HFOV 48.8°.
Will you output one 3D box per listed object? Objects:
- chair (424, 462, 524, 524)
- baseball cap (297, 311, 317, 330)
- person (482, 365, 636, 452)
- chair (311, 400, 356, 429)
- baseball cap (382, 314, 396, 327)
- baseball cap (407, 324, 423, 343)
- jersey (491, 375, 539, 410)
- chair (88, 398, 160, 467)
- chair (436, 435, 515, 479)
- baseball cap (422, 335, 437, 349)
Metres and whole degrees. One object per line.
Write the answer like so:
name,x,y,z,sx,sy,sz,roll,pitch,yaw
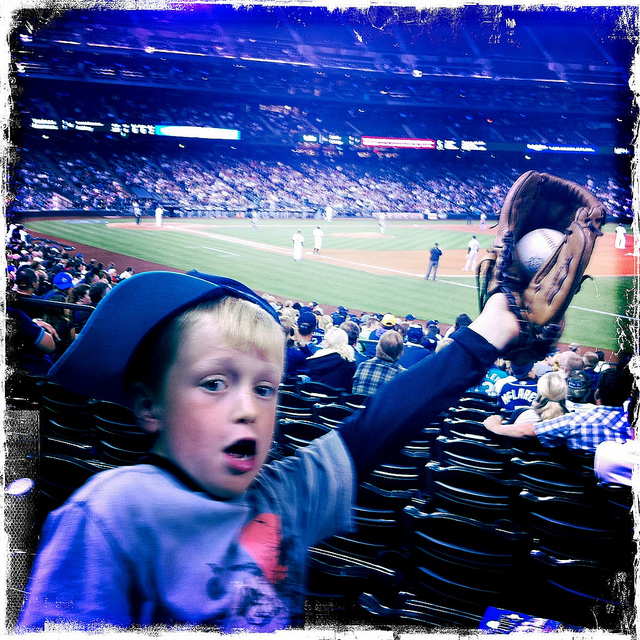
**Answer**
chair,1.167,1.358,5.449,0.791,0.463,0.657,4,-3,10
baseball cap,-0.115,0.005,6.499,0.149,0.148,0.180,6,-7,14
person,2.190,0.783,6.189,1.194,0.431,0.788,3,1,-7
chair,0.094,0.802,6.039,0.236,0.086,0.304,13,3,34
baseball cap,0.697,0.003,7.099,0.127,0.127,0.173,6,-3,3
baseball cap,0.890,0.128,6.600,0.157,0.149,0.167,3,-6,6
jersey,1.741,0.653,6.357,0.442,0.290,0.199,3,-4,-3
chair,-1.630,0.939,5.902,0.794,0.475,0.518,3,-1,0
chair,1.248,1.066,5.893,0.464,0.470,0.436,10,27,15
baseball cap,0.995,0.203,6.375,0.139,0.100,0.098,7,-11,-40
